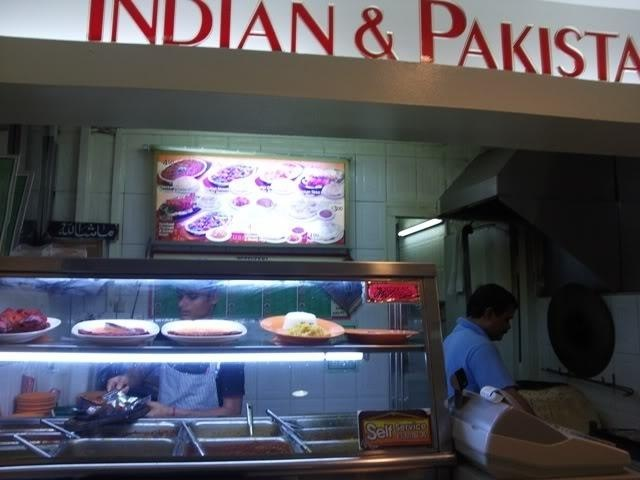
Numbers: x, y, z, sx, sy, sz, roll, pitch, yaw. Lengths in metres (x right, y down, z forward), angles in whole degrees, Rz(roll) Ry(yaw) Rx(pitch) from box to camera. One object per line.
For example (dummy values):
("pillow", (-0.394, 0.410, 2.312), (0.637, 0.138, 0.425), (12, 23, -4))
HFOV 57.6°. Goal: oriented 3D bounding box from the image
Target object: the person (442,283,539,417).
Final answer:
("person", (1.198, 0.737, 3.915), (0.483, 1.017, 0.706), (5, -14, -2))
